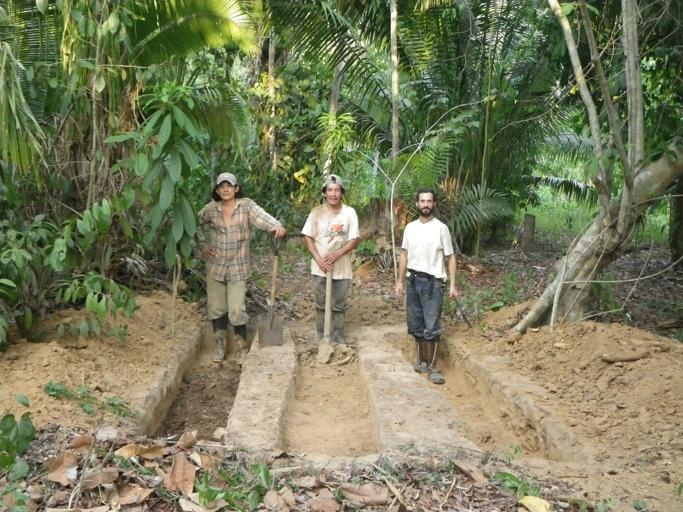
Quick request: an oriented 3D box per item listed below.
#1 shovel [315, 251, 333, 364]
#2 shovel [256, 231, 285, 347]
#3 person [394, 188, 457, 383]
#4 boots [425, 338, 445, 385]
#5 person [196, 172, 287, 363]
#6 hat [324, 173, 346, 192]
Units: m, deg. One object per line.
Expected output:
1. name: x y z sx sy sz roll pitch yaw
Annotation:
1. shovel: -0.179 0.666 7.052 0.179 1.091 0.473 1 15 -1
2. shovel: -0.761 0.414 6.824 0.299 1.552 0.107 -1 31 -16
3. person: 0.921 0.346 6.661 0.675 2.153 0.439 8 16 23
4. boots: 1.016 1.183 6.680 0.133 0.454 0.324 3 3 -23
5. person: -1.233 0.155 7.132 0.826 2.233 0.438 -1 15 -8
6. hat: -0.103 -0.868 7.178 0.249 0.230 0.450 1 16 -3
